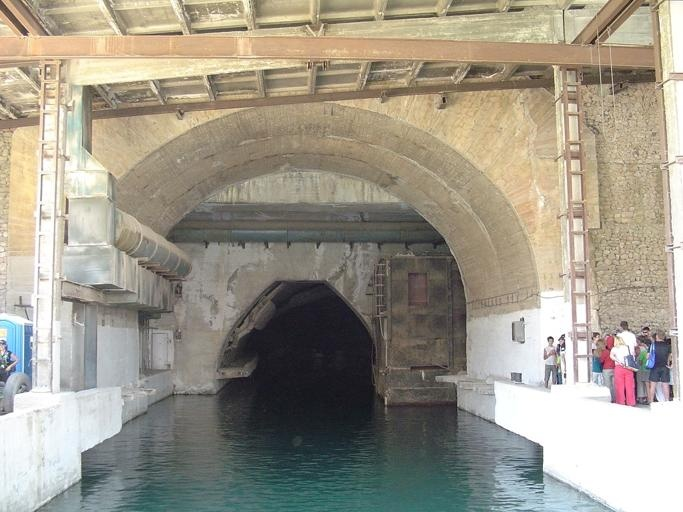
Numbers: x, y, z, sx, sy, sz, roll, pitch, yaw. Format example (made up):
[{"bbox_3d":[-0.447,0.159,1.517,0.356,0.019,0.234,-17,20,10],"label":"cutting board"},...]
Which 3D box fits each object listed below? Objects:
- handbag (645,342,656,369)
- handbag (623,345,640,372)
[{"bbox_3d":[7.442,2.426,15.633,0.191,0.650,0.525,8,-22,20],"label":"handbag"},{"bbox_3d":[6.563,2.335,14.645,0.218,0.559,0.763,-3,-7,29],"label":"handbag"}]
